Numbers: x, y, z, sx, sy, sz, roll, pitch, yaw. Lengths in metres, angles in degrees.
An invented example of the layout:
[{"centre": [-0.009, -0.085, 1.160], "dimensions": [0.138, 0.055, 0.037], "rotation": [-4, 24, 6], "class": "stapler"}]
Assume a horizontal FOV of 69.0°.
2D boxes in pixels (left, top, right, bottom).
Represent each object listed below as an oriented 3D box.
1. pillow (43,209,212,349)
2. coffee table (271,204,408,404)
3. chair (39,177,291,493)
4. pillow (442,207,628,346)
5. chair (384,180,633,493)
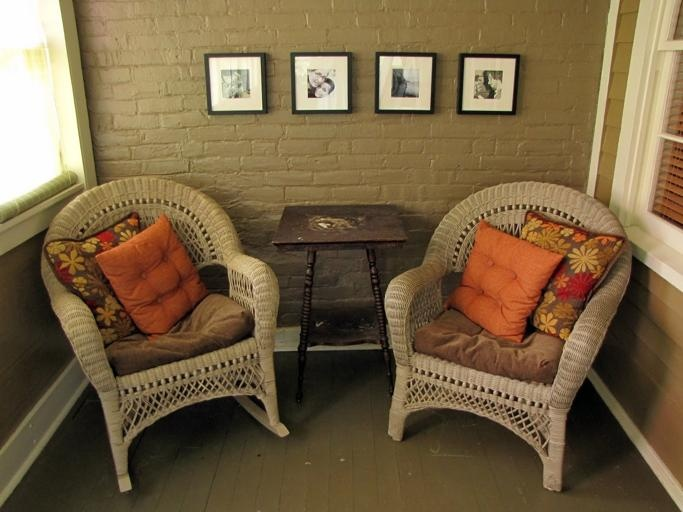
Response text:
[{"centre": [-1.017, 0.121, 2.369], "dimensions": [0.186, 0.587, 0.614], "rotation": [-23, 10, 44], "class": "pillow"}, {"centre": [-0.002, 0.246, 2.705], "dimensions": [0.894, 1.066, 0.785], "rotation": [-2, 30, 0], "class": "coffee table"}, {"centre": [-0.880, 0.267, 2.443], "dimensions": [0.976, 1.132, 0.966], "rotation": [-13, 23, -30], "class": "chair"}, {"centre": [0.913, 0.084, 2.305], "dimensions": [0.203, 0.609, 0.645], "rotation": [30, 3, -42], "class": "pillow"}, {"centre": [0.790, 0.279, 2.414], "dimensions": [1.009, 1.106, 0.959], "rotation": [14, 24, 36], "class": "chair"}]
